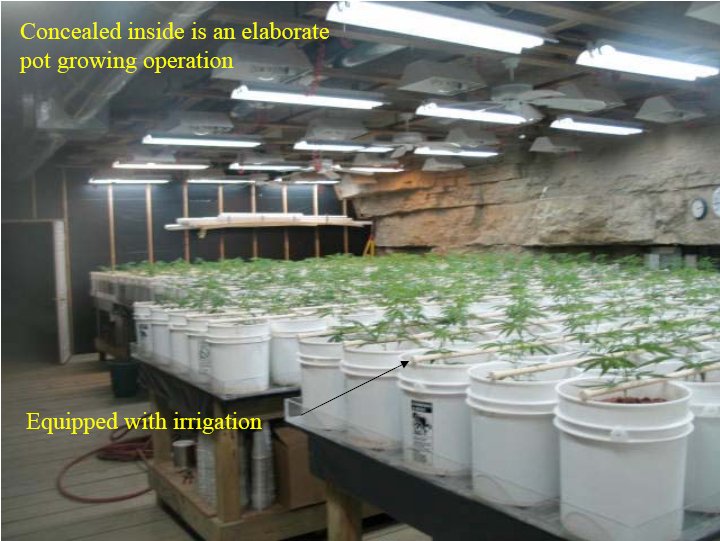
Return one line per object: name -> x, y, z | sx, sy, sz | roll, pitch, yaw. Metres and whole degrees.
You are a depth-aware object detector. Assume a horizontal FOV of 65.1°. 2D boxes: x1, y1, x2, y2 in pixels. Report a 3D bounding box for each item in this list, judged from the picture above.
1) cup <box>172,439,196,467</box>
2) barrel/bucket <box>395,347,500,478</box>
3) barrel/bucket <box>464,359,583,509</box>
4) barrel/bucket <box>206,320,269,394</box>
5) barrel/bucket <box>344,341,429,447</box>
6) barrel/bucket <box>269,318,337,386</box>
cup -> -1.193, 1.267, 3.949 | 0.204, 0.143, 0.175 | 4, 2, 1
barrel/bucket -> 0.278, 0.494, 2.104 | 0.460, 0.347, 0.421 | -1, 1, 0
barrel/bucket -> 0.482, 0.516, 1.929 | 0.453, 0.354, 0.459 | -1, 1, 0
barrel/bucket -> -0.554, 0.442, 3.048 | 0.462, 0.324, 0.394 | -1, 2, 0
barrel/bucket -> 0.072, 0.471, 2.296 | 0.419, 0.330, 0.387 | 0, 3, 0
barrel/bucket -> -0.288, 0.422, 3.145 | 0.430, 0.341, 0.408 | 1, 0, 0
